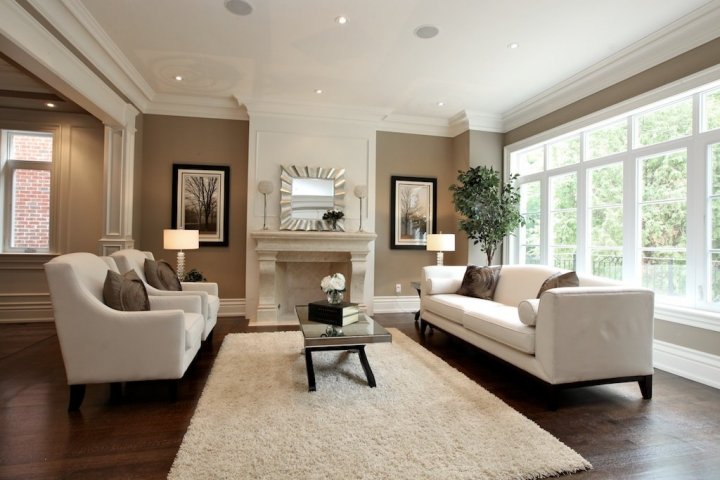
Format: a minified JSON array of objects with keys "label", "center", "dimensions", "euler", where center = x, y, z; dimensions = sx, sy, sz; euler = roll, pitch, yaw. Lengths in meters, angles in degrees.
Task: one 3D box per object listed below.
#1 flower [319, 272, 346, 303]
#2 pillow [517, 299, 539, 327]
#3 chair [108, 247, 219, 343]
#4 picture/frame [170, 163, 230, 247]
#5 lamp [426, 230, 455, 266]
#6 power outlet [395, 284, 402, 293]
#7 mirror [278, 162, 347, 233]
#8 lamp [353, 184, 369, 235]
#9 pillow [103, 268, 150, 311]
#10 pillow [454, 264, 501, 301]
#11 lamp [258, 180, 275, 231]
[{"label":"flower","center":[-0.329,0.545,5.523],"dimensions":[0.350,0.351,0.352],"euler":[-2,-2,23]},{"label":"pillow","center":[1.737,0.748,4.954],"dimensions":[0.290,0.236,0.245],"euler":[-8,6,-40]},{"label":"chair","center":[-2.306,0.586,5.943],"dimensions":[1.274,1.221,1.154],"euler":[0,-1,-9]},{"label":"picture/frame","center":[-2.508,-0.552,7.466],"dimensions":[0.853,1.262,0.238],"euler":[1,2,-21]},{"label":"lamp","center":[1.295,0.201,7.519],"dimensions":[0.418,0.652,0.417],"euler":[-1,5,-7]},{"label":"power outlet","center":[0.660,0.823,8.121],"dimensions":[0.156,0.210,0.025],"euler":[0,2,-9]},{"label":"mirror","center":[-0.810,-0.661,7.587],"dimensions":[1.167,1.137,0.126],"euler":[1,-2,-13]},{"label":"lamp","center":[0.007,-0.525,7.713],"dimensions":[0.201,0.754,0.222],"euler":[2,2,-1]},{"label":"pillow","center":[-2.366,0.508,4.745],"dimensions":[0.183,0.297,0.349],"euler":[-32,-20,5]},{"label":"pillow","center":[1.628,0.555,6.352],"dimensions":[0.150,0.444,0.468],"euler":[30,-16,-37]},{"label":"lamp","center":[-1.486,-0.542,7.398],"dimensions":[0.216,0.754,0.226],"euler":[1,3,-22]}]
